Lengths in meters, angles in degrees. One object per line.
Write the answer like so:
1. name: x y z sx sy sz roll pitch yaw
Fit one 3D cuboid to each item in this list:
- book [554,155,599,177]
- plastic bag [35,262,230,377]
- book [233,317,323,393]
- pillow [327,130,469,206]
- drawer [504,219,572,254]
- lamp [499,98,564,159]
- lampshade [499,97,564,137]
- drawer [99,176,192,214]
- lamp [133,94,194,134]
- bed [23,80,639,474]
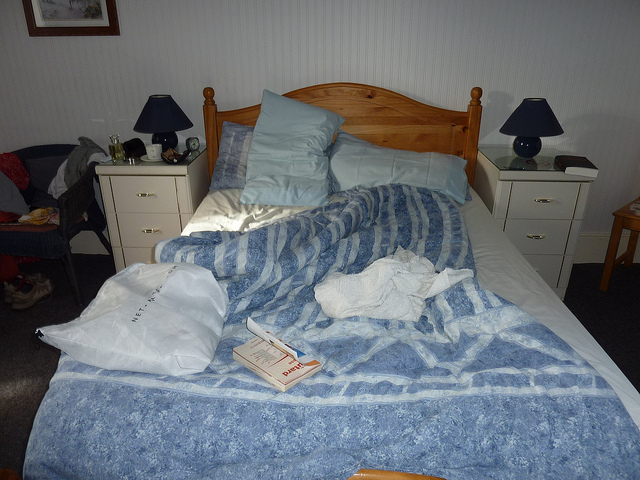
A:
1. book: 1.633 -0.485 2.972 0.206 0.062 0.284 7 29 9
2. plastic bag: -0.644 0.264 1.702 0.580 0.196 0.436 6 29 7
3. book: -0.176 0.383 1.643 0.336 0.112 0.220 20 17 39
4. pillow: 0.473 -0.465 2.915 0.657 0.223 0.480 9 58 1
5. drawer: 1.474 0.010 3.132 0.409 0.279 0.265 0 -17 29
6. lamp: 1.383 -0.727 3.060 0.379 0.408 0.392 8 8 18
7. lampshade: 1.405 -0.795 3.031 0.380 0.239 0.411 -1 7 -9
8. drawer: -1.132 -0.301 2.894 0.344 0.200 0.289 -1 29 -3
9. lamp: -1.079 -0.848 3.160 0.411 0.245 0.411 6 15 40
10. bed: 0.155 0.083 2.182 1.959 0.414 2.101 4 29 3
